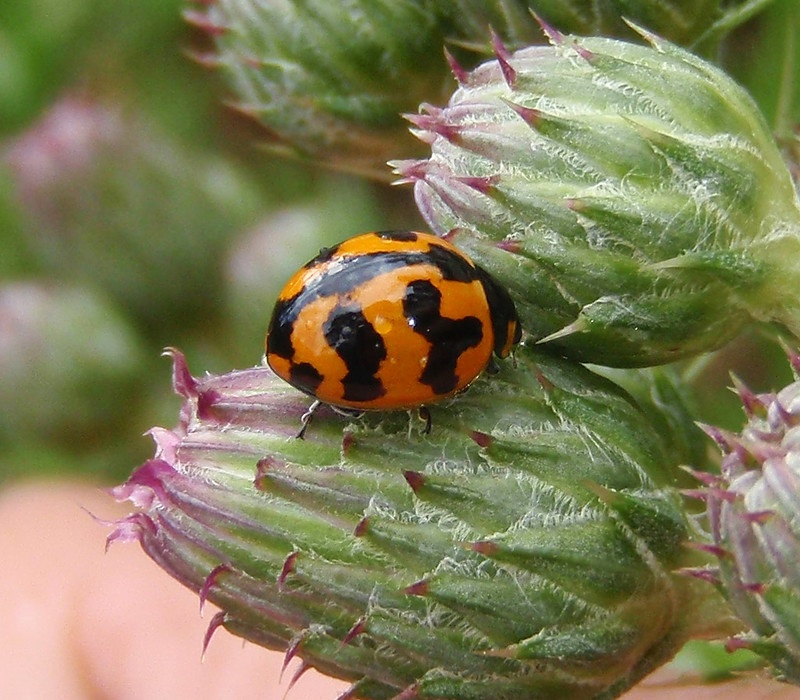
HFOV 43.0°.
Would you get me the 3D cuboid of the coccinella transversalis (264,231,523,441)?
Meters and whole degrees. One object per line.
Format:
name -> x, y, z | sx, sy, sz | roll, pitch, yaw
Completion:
coccinella transversalis -> -0.028, -0.061, 1.951 | 0.416, 0.110, 0.352 | 12, 77, 3
